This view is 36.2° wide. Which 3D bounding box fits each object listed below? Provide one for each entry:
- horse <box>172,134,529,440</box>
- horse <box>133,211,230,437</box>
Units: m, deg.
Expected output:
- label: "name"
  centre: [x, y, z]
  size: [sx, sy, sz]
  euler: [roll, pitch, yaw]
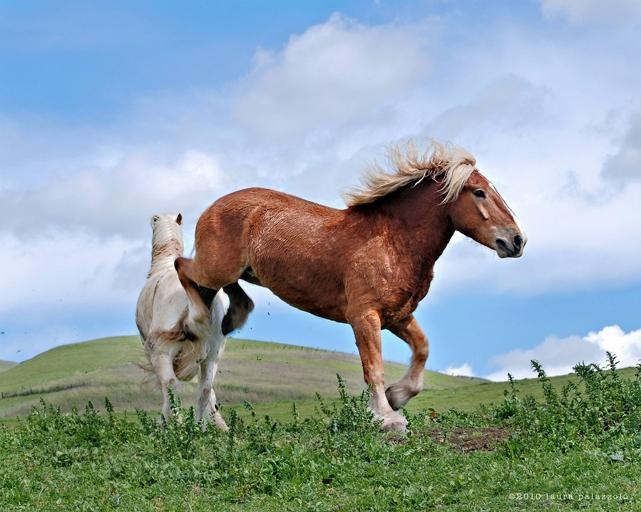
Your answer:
- label: "horse"
  centre: [0.062, 0.230, 11.699]
  size: [4.195, 3.459, 1.228]
  euler: [9, 8, 20]
- label: "horse"
  centre: [-2.020, 1.025, 13.969]
  size: [1.078, 3.177, 4.723]
  euler: [1, 3, -15]
